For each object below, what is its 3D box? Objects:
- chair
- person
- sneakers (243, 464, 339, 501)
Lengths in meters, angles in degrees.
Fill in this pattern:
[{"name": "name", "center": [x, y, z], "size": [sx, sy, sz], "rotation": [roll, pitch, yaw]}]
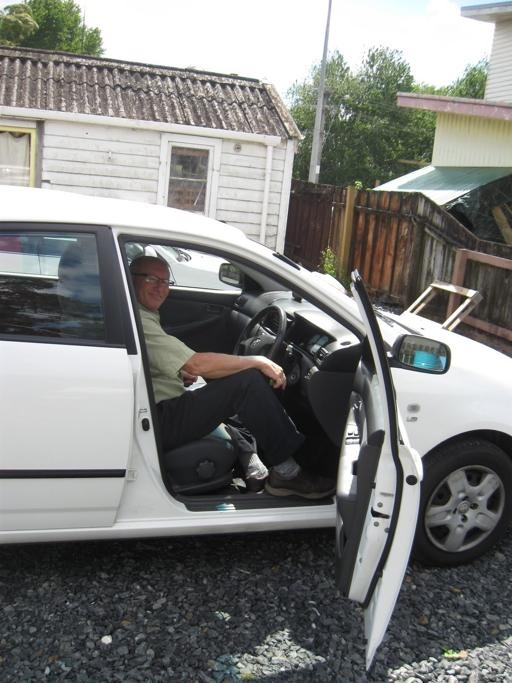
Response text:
[{"name": "chair", "center": [-0.247, 0.536, 2.289], "size": [0.304, 0.108, 0.221], "rotation": [-13, 18, -16]}, {"name": "person", "center": [-0.126, 0.159, 2.440], "size": [0.939, 1.101, 0.595], "rotation": [-1, 6, 4]}, {"name": "sneakers", "center": [0.180, 0.633, 2.356], "size": [0.348, 0.144, 0.147], "rotation": [-1, 16, -2]}]
